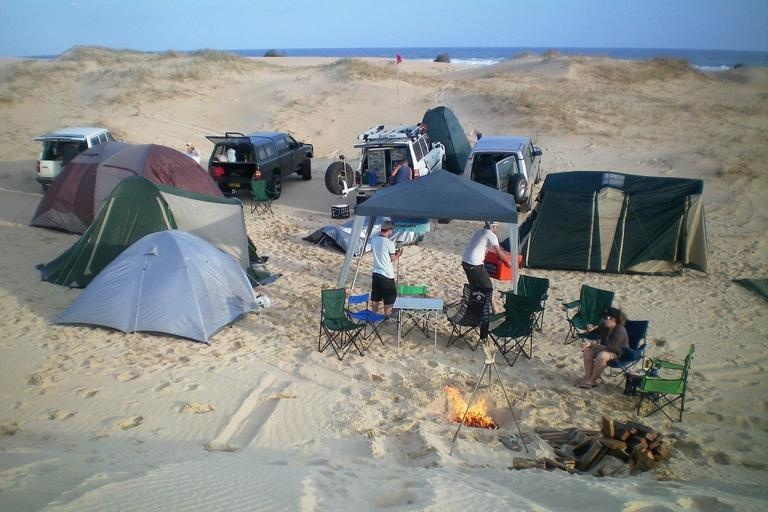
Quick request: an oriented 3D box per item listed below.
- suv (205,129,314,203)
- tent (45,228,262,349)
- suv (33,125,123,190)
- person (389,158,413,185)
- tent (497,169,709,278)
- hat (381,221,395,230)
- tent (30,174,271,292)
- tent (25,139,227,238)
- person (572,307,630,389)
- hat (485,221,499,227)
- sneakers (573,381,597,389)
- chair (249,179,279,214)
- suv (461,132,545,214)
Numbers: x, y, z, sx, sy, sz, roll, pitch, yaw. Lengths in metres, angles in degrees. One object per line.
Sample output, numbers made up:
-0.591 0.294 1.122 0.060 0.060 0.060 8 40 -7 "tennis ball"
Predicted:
-4.008 -3.333 20.779 1.970 1.924 4.708 3 20 12 "suv"
-4.778 0.253 13.022 4.007 1.351 3.740 -21 32 -39 "tent"
-9.597 -3.339 19.545 1.750 1.553 3.034 -7 22 1 "suv"
0.495 -2.290 17.695 0.628 0.829 1.583 -1 34 -1 "person"
5.608 -0.716 15.220 4.073 1.219 2.750 4 46 10 "tent"
0.069 -0.644 12.672 0.198 0.179 0.307 6 34 9 "hat"
-5.304 -0.871 14.280 3.881 1.323 3.264 0 16 -21 "tent"
-6.951 -2.363 16.866 4.140 1.486 2.852 5 22 3 "tent"
4.116 1.788 11.658 1.095 0.644 1.523 10 53 9 "person"
2.265 -0.652 12.991 0.253 0.077 0.181 2 15 25 "hat"
3.721 2.365 11.339 0.310 0.065 0.130 1 8 -6 "sneakers"
-3.760 -1.839 19.173 0.938 1.114 0.837 -11 33 -35 "chair"
3.630 -2.768 19.054 2.472 1.701 3.808 5 28 13 "suv"
